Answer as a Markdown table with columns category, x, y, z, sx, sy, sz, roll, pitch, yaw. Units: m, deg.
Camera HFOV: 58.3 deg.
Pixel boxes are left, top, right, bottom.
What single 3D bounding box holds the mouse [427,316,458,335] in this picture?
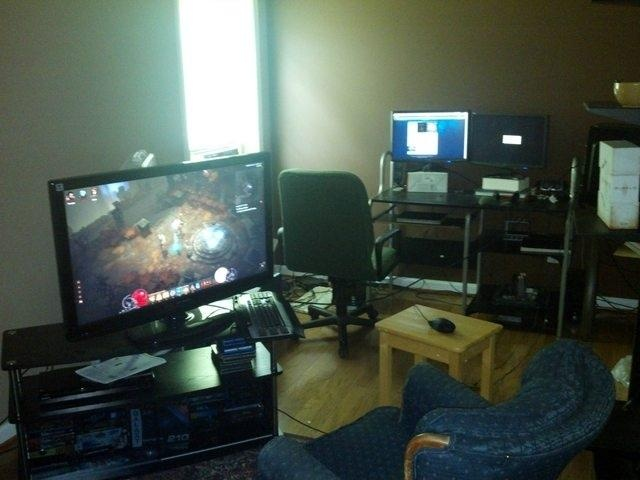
| category | x | y | z | sx | sy | sz | roll | pitch | yaw |
| --- | --- | --- | --- | --- | --- | --- | --- | --- | --- |
| mouse | 0.626 | 0.437 | 2.958 | 0.153 | 0.063 | 0.116 | 8 | 17 | 43 |

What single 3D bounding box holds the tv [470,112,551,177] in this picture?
| category | x | y | z | sx | sy | sz | roll | pitch | yaw |
| --- | --- | --- | --- | --- | --- | --- | --- | --- | --- |
| tv | 1.431 | -0.724 | 4.273 | 0.512 | 0.356 | 0.068 | 9 | 19 | 28 |

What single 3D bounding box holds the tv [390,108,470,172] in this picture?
| category | x | y | z | sx | sy | sz | roll | pitch | yaw |
| --- | --- | --- | --- | --- | --- | --- | --- | --- | --- |
| tv | 0.857 | -0.779 | 4.436 | 0.566 | 0.353 | 0.073 | 2 | 10 | 12 |

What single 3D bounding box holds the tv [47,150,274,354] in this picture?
| category | x | y | z | sx | sy | sz | roll | pitch | yaw |
| --- | --- | --- | --- | --- | --- | --- | --- | --- | --- |
| tv | -0.628 | 0.046 | 2.554 | 1.088 | 0.712 | 0.254 | -8 | 6 | 13 |

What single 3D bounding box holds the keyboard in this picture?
| category | x | y | z | sx | sy | sz | roll | pitch | yaw |
| --- | --- | --- | --- | --- | --- | --- | --- | --- | --- |
| keyboard | -0.263 | 0.355 | 2.760 | 0.291 | 0.045 | 0.419 | -1 | 25 | -18 |

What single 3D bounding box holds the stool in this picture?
| category | x | y | z | sx | sy | sz | roll | pitch | yaw |
| --- | --- | --- | --- | --- | --- | --- | --- | --- | --- |
| stool | 0.622 | 0.697 | 3.080 | 0.467 | 0.488 | 0.560 | -10 | 12 | -37 |
